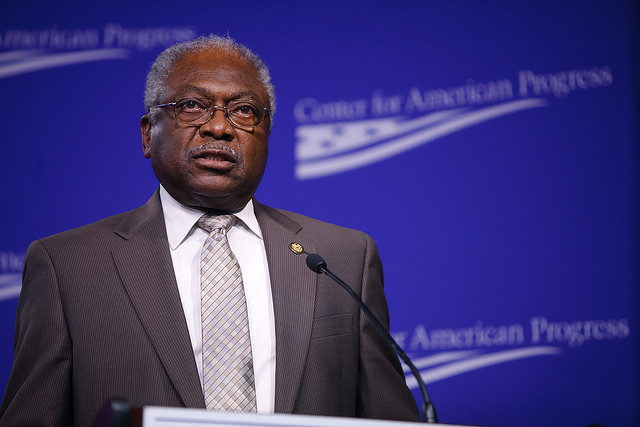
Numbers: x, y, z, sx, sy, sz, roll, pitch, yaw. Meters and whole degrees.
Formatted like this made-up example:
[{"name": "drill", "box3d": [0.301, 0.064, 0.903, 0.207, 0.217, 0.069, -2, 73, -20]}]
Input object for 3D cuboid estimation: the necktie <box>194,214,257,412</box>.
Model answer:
[{"name": "necktie", "box3d": [-0.405, 0.466, 2.863, 0.212, 0.740, 0.163, -1, -5, -10]}]
